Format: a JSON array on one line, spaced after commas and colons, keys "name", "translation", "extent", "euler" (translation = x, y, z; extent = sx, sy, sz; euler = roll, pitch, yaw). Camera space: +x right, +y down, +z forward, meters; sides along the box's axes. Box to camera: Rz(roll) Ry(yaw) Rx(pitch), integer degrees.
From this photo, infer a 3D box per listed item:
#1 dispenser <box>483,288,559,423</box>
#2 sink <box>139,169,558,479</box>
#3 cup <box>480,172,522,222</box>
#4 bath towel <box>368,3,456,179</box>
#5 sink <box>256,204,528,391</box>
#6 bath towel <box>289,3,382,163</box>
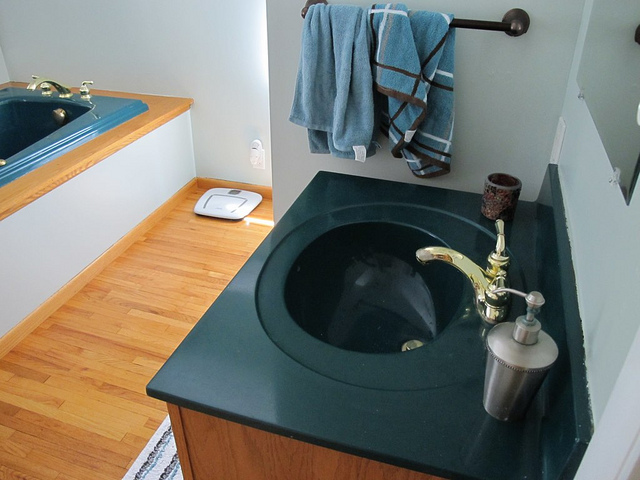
[{"name": "dispenser", "translation": [0.317, 0.202, 0.862], "extent": [0.123, 0.231, 0.148], "euler": [10, 32, 16]}, {"name": "sink", "translation": [0.070, 0.175, 0.976], "extent": [0.545, 0.189, 0.831], "euler": [10, 38, 14]}, {"name": "cup", "translation": [0.509, -0.121, 1.352], "extent": [0.093, 0.103, 0.090], "euler": [-2, 38, 1]}, {"name": "bath towel", "translation": [0.255, -0.391, 1.354], "extent": [0.279, 0.469, 0.149], "euler": [4, 34, 2]}, {"name": "sink", "translation": [0.168, 0.140, 1.122], "extent": [0.332, 0.141, 0.427], "euler": [9, 40, 11]}, {"name": "bath towel", "translation": [0.048, -0.458, 1.363], "extent": [0.330, 0.481, 0.124], "euler": [19, 44, 20]}]
